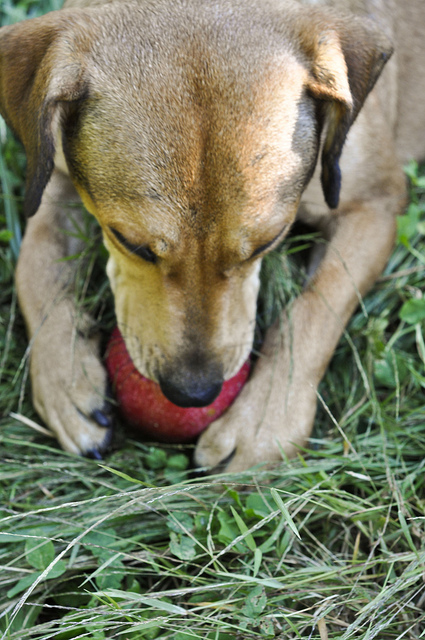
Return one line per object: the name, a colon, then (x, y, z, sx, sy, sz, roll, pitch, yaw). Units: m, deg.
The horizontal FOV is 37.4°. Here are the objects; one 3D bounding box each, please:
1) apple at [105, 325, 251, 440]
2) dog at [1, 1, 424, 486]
apple: (-0.123, 0.250, 2.158, 0.373, 0.381, 0.368, -14, 10, 11)
dog: (-0.094, -0.398, 2.402, 1.571, 1.584, 1.551, -16, 47, -19)
